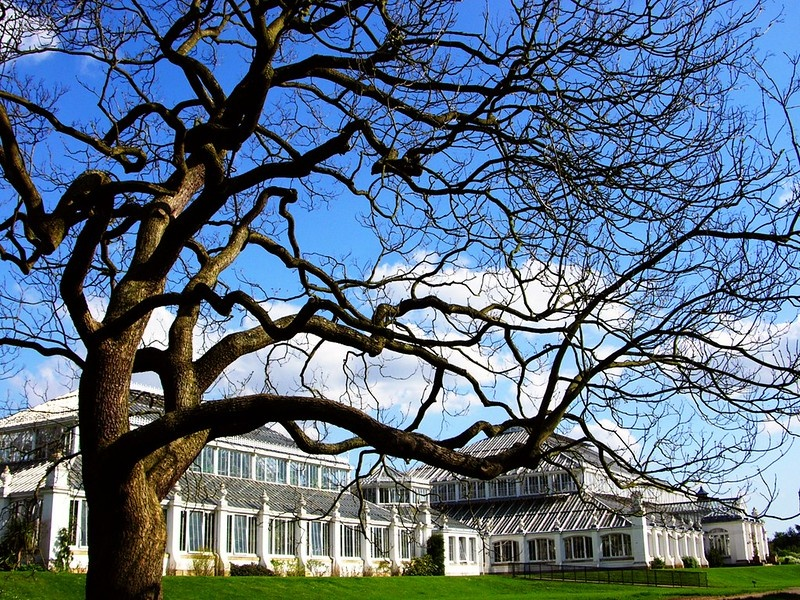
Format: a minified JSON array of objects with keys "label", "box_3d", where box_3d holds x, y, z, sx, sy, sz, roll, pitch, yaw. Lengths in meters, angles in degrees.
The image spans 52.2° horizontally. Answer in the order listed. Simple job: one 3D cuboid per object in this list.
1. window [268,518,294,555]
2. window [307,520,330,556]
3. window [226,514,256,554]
[{"label":"window","box_3d":[-5.839,11.900,40.746,1.232,1.787,3.624,2,-24,-7]},{"label":"window","box_3d":[-4.367,12.831,43.474,0.620,1.949,1.991,-8,-23,19]},{"label":"window","box_3d":[-7.704,11.465,39.391,0.178,2.441,2.325,-21,-27,28]}]
